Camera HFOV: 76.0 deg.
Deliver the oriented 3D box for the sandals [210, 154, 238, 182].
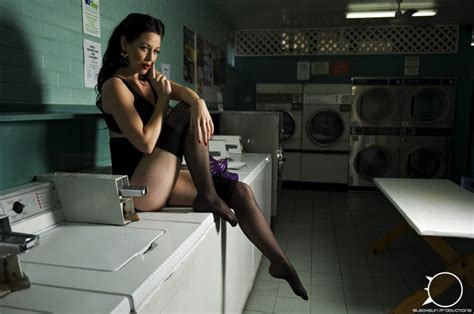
[{"bbox_3d":[-0.061,0.075,2.048,0.093,0.137,0.309,8,7,32],"label":"sandals"}]
